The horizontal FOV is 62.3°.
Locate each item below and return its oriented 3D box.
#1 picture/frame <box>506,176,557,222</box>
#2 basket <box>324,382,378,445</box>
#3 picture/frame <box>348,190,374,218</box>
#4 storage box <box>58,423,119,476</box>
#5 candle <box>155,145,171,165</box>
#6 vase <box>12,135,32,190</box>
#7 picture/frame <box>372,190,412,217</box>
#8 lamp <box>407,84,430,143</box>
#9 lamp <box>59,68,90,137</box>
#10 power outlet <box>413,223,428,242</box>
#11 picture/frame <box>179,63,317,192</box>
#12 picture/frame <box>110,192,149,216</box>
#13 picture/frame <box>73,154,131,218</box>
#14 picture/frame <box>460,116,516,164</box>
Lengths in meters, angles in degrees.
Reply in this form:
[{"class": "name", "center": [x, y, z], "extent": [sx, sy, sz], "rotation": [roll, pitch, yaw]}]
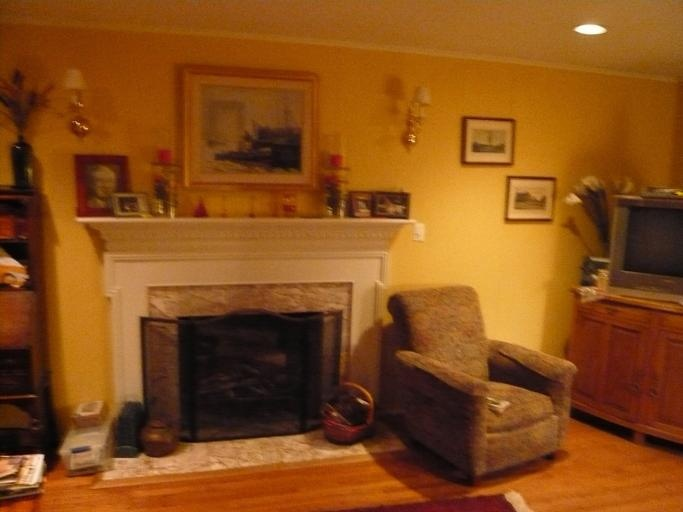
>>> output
[{"class": "picture/frame", "center": [1.527, -0.475, 4.606], "extent": [0.443, 0.323, 0.033], "rotation": [0, 3, -16]}, {"class": "basket", "center": [0.060, 1.143, 4.107], "extent": [0.411, 0.405, 0.255], "rotation": [0, 10, -9]}, {"class": "picture/frame", "center": [0.142, -0.382, 4.246], "extent": [0.244, 0.208, 0.076], "rotation": [0, 4, -15]}, {"class": "storage box", "center": [-1.712, 1.297, 3.797], "extent": [0.316, 0.237, 0.291], "rotation": [-2, 10, -19]}, {"class": "candle", "center": [-1.248, -0.689, 3.948], "extent": [0.108, 0.121, 0.081], "rotation": [-1, 10, -11]}, {"class": "vase", "center": [-2.133, -0.621, 3.766], "extent": [0.125, 0.349, 0.196], "rotation": [-4, 11, -27]}, {"class": "picture/frame", "center": [0.375, -0.376, 4.266], "extent": [0.375, 0.225, 0.187], "rotation": [0, 1, -10]}, {"class": "lamp", "center": [0.572, -1.035, 4.257], "extent": [0.171, 0.425, 0.224], "rotation": [2, 10, 5]}, {"class": "lamp", "center": [-1.780, -1.014, 3.798], "extent": [0.149, 0.429, 0.213], "rotation": [-3, 11, -22]}, {"class": "power outlet", "center": [0.613, -0.185, 4.444], "extent": [0.173, 0.201, 0.023], "rotation": [-1, 6, -17]}, {"class": "picture/frame", "center": [-0.715, -0.948, 4.048], "extent": [1.108, 0.793, 0.080], "rotation": [0, 3, -12]}, {"class": "picture/frame", "center": [-1.458, -0.348, 3.869], "extent": [0.195, 0.172, 0.189], "rotation": [-6, -4, -24]}, {"class": "picture/frame", "center": [-1.679, -0.475, 3.904], "extent": [0.525, 0.534, 0.075], "rotation": [0, -1, -12]}, {"class": "picture/frame", "center": [1.134, -0.924, 4.460], "extent": [0.451, 0.315, 0.033], "rotation": [0, 4, -15]}]
